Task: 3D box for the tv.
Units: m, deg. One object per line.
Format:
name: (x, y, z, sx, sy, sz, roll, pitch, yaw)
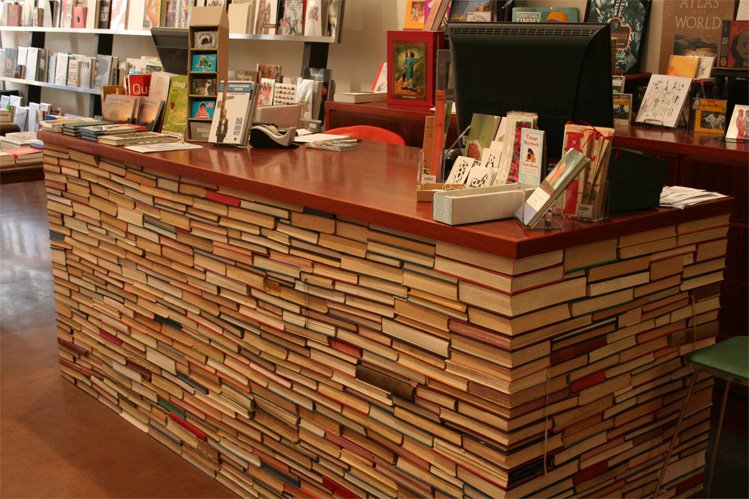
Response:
tv: (0.654, -0.649, 2.289, 0.666, 0.530, 0.078, 14, 31, 37)
